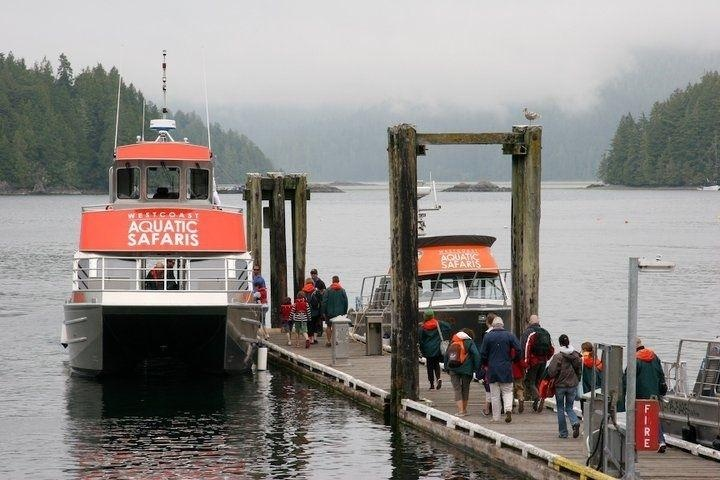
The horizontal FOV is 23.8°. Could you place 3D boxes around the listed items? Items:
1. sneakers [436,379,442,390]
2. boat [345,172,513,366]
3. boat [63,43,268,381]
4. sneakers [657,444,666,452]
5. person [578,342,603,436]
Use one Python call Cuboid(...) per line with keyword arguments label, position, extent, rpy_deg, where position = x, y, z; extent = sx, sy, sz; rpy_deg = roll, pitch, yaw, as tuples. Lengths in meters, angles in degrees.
Cuboid(label="sneakers", position=(3.965, 7.148, 85.057), extent=(0.211, 0.498, 0.225), rpy_deg=(6, 13, -3))
Cuboid(label="boat", position=(3.542, 2.377, 95.395), extent=(6.060, 6.694, 12.551), rpy_deg=(-1, -2, -5))
Cuboid(label="boat", position=(-11.082, 1.440, 91.658), extent=(13.655, 13.313, 35.658), rpy_deg=(0, -1, -13))
Cuboid(label="sneakers", position=(14.343, 9.781, 80.673), extent=(0.233, 0.259, 0.650), rpy_deg=(5, 8, 5))
Cuboid(label="person", position=(10.992, 6.543, 80.791), extent=(0.982, 3.447, 1.031), rpy_deg=(1, 0, 0))
